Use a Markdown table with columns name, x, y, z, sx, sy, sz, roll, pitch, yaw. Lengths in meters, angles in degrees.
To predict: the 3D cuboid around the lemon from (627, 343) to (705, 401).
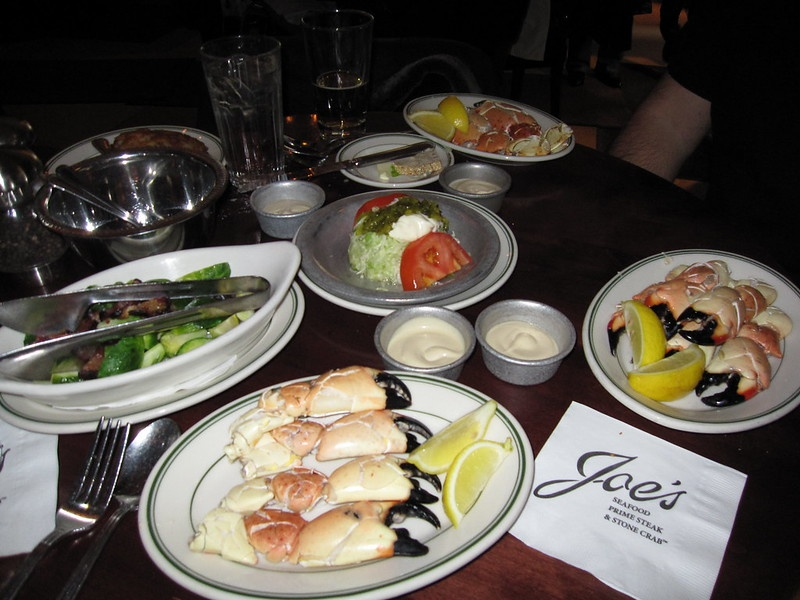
| name | x | y | z | sx | sy | sz | roll | pitch | yaw |
| --- | --- | --- | --- | --- | --- | --- | --- | --- | --- |
| lemon | 0.783 | 0.190 | 1.857 | 0.256 | 0.130 | 0.129 | -23 | 82 | -6 |

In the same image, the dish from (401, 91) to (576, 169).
| name | x | y | z | sx | sy | sz | roll | pitch | yaw |
| --- | --- | --- | --- | --- | --- | --- | --- | --- | --- |
| dish | 0.456 | -0.941 | 3.253 | 0.779 | 0.141 | 0.764 | 1 | 8 | -45 |

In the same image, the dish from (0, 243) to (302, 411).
| name | x | y | z | sx | sy | sz | roll | pitch | yaw |
| --- | --- | --- | --- | --- | --- | --- | --- | --- | --- |
| dish | -0.641 | 0.065 | 1.750 | 0.687 | 0.134 | 0.551 | -22 | 38 | -23 |

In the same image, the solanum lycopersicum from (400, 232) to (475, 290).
| name | x | y | z | sx | sy | sz | roll | pitch | yaw |
| --- | --- | --- | --- | --- | --- | --- | --- | --- | --- |
| solanum lycopersicum | 0.120 | -0.146 | 2.242 | 0.272 | 0.064 | 0.204 | -18 | 85 | -12 |

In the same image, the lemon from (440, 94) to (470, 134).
| name | x | y | z | sx | sy | sz | roll | pitch | yaw |
| --- | --- | --- | --- | --- | --- | --- | --- | --- | --- |
| lemon | 0.279 | -0.980 | 3.114 | 0.176 | 0.300 | 0.101 | -1 | 88 | 9 |

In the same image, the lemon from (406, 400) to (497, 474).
| name | x | y | z | sx | sy | sz | roll | pitch | yaw |
| --- | --- | --- | --- | --- | --- | --- | --- | --- | --- |
| lemon | 0.142 | 0.381 | 1.648 | 0.275 | 0.066 | 0.132 | -36 | 39 | 0 |

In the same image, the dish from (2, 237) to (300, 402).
| name | x | y | z | sx | sy | sz | roll | pitch | yaw |
| --- | --- | --- | --- | --- | --- | --- | --- | --- | --- |
| dish | -0.657 | 0.072 | 1.741 | 0.671 | 0.132 | 0.538 | -19 | 36 | -19 |

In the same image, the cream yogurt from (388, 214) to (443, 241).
| name | x | y | z | sx | sy | sz | roll | pitch | yaw |
| --- | --- | --- | --- | --- | --- | --- | --- | --- | --- |
| cream yogurt | 0.046 | -0.280 | 2.309 | 0.137 | 0.041 | 0.107 | -26 | 47 | -12 |

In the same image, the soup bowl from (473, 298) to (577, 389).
| name | x | y | z | sx | sy | sz | roll | pitch | yaw |
| --- | --- | --- | --- | --- | --- | --- | --- | --- | --- |
| soup bowl | 0.387 | 0.139 | 1.924 | 0.301 | 0.120 | 0.303 | 1 | 37 | -1 |

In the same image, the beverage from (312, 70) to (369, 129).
| name | x | y | z | sx | sy | sz | roll | pitch | yaw |
| --- | --- | --- | --- | --- | --- | --- | --- | --- | --- |
| beverage | -0.294 | -0.993 | 3.038 | 0.259 | 0.243 | 0.217 | -2 | 46 | -3 |

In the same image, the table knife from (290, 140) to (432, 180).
| name | x | y | z | sx | sy | sz | roll | pitch | yaw |
| --- | --- | --- | --- | --- | --- | --- | --- | --- | --- |
| table knife | -0.156 | -0.644 | 2.807 | 0.707 | 0.036 | 0.098 | -14 | 44 | -5 |
